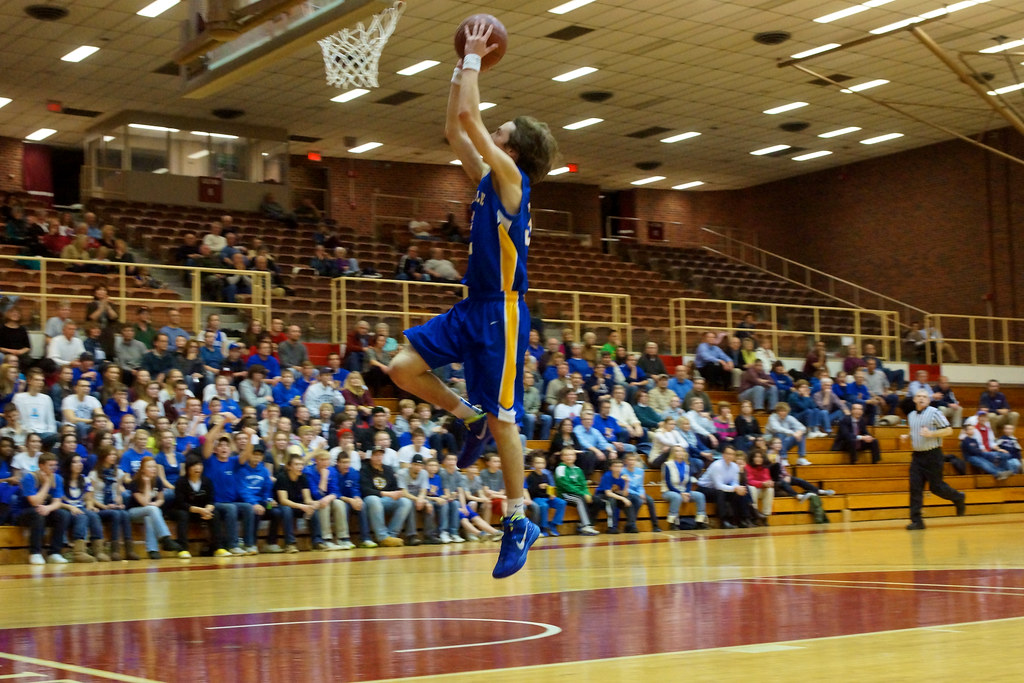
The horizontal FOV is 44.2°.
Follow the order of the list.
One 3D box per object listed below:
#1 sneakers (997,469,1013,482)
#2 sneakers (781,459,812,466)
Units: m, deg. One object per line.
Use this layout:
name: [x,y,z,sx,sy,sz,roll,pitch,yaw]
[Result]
sneakers: [9.199,2.517,23.474,0.328,0.128,0.199,-12,-14,-46]
sneakers: [5.058,2.162,22.519,0.644,0.157,0.182,0,-3,19]
